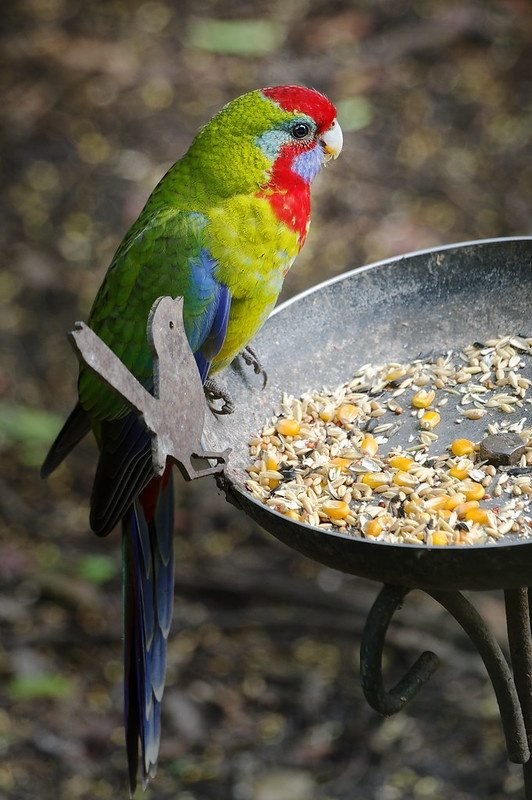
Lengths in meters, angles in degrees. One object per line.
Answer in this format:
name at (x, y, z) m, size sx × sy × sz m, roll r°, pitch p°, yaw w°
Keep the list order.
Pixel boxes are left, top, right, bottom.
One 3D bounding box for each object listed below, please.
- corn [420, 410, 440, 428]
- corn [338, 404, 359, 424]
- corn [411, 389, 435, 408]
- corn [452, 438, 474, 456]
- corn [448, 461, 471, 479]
corn at (0.291, 0.035, 1.603) m, size 0.031 × 0.025 × 0.032 m, roll 4°, pitch 35°, yaw 31°
corn at (0.152, 0.025, 1.669) m, size 0.038 × 0.013 × 0.032 m, roll 0°, pitch 53°, yaw 2°
corn at (0.290, -0.003, 1.661) m, size 0.033 × 0.022 × 0.048 m, roll 12°, pitch 35°, yaw 28°
corn at (0.332, 0.080, 1.531) m, size 0.034 × 0.019 × 0.028 m, roll -20°, pitch 33°, yaw -28°
corn at (0.321, 0.115, 1.494) m, size 0.025 × 0.011 × 0.032 m, roll 12°, pitch 42°, yaw 30°
